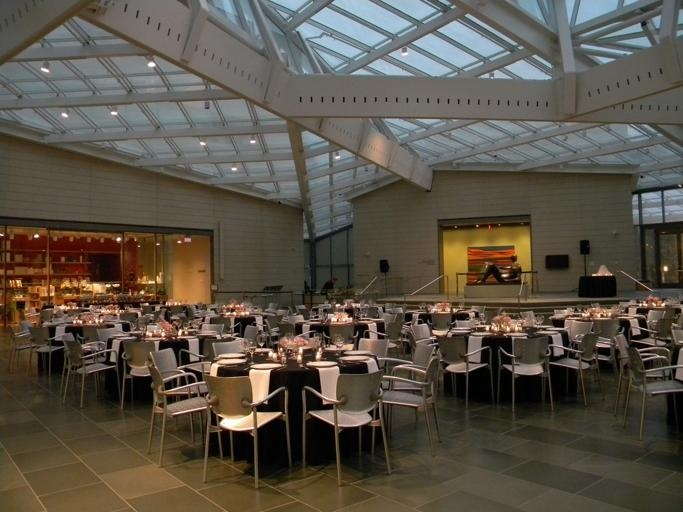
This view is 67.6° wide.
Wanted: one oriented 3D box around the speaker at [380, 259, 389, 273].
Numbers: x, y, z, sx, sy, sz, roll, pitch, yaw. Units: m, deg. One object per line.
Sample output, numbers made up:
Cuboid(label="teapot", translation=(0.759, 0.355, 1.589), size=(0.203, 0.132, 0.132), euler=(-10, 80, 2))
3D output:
Cuboid(label="speaker", translation=(1.846, 0.386, 21.617), size=(0.369, 0.560, 0.391), euler=(0, 7, 16))

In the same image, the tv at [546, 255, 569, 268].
Cuboid(label="tv", translation=(8.239, 0.195, 19.563), size=(1.096, 0.580, 0.519), euler=(-1, 2, 7))

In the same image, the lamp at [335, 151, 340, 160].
Cuboid(label="lamp", translation=(-0.128, -3.380, 17.077), size=(0.281, 0.239, 0.246), euler=(0, -9, 5))

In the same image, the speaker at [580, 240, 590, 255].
Cuboid(label="speaker", translation=(9.179, -0.326, 19.181), size=(0.414, 0.591, 0.332), euler=(-1, 7, 7))

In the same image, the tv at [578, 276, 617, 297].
Cuboid(label="tv", translation=(8.175, 0.969, 16.340), size=(0.903, 0.445, 0.895), euler=(1, -1, 39))
